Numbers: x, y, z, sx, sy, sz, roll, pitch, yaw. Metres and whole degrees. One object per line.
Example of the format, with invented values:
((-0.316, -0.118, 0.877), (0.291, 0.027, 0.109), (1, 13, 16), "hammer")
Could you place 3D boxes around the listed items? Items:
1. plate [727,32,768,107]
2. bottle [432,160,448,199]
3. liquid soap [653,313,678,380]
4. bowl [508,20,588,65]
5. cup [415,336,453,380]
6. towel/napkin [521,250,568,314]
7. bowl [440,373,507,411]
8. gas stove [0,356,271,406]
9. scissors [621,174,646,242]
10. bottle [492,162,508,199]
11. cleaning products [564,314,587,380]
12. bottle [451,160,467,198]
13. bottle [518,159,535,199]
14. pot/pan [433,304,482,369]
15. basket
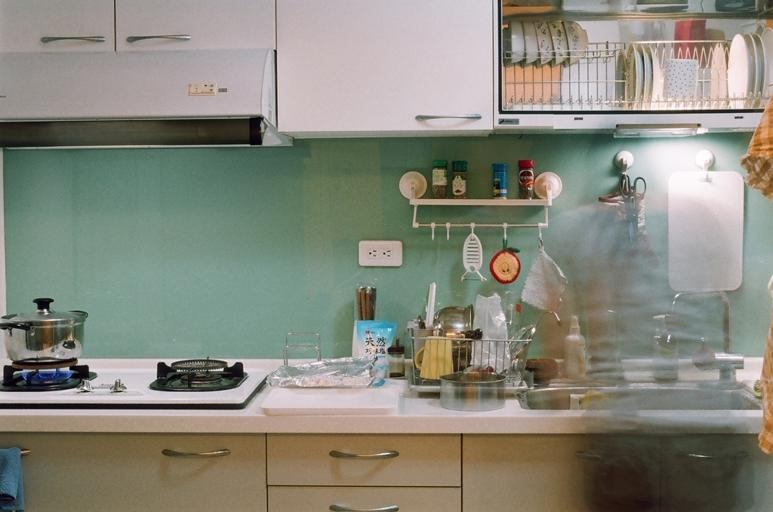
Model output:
((1.421, -0.721, 3.190), (0.150, 0.295, 0.098), (-3, 4, 22), "plate")
((0.227, -0.324, 3.453), (0.081, 0.163, 0.057), (-5, 3, 4), "bottle")
((0.989, 0.325, 2.877), (0.088, 0.234, 0.159), (-4, 3, 20), "liquid soap")
((0.643, -0.849, 3.245), (0.290, 0.165, 0.120), (-1, -2, 1), "bowl")
((0.193, 0.400, 3.230), (0.163, 0.148, 0.146), (2, -1, 7), "cup")
((0.673, 0.116, 3.420), (0.204, 0.293, 0.090), (16, 33, 36), "towel/napkin")
((0.325, 0.511, 3.023), (0.163, 0.063, 0.158), (0, -1, 0), "bowl")
((-0.980, 0.524, 3.260), (1.009, 0.120, 0.510), (-4, 3, 1), "gas stove")
((1.062, -0.198, 3.446), (0.108, 0.275, 0.050), (-4, 3, 11), "scissors")
((0.482, -0.315, 3.441), (0.069, 0.154, 0.064), (-5, 3, 0), "bottle")
((0.789, 0.376, 3.387), (0.092, 0.256, 0.180), (-4, 3, 13), "cleaning products")
((0.312, -0.324, 3.448), (0.077, 0.163, 0.058), (-5, 3, 5), "bottle")
((0.601, -0.324, 3.448), (0.079, 0.169, 0.055), (-5, 3, -3), "bottle")
((0.243, 0.306, 3.277), (0.229, 0.254, 0.221), (2, -4, -12), "pot/pan")
((0.330, 0.402, 3.193), (0.385, 0.175, 0.264), (1, -2, 2), "basket")
